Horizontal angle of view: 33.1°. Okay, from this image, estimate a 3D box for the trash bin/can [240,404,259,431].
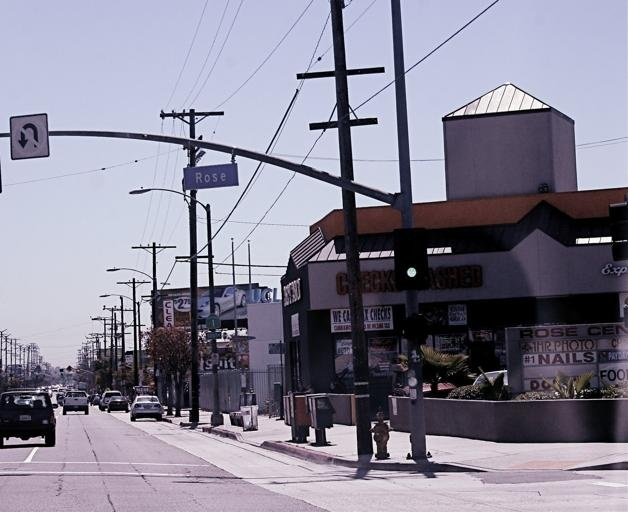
[{"bbox_3d":[-2.464,6.193,40.030,0.852,1.156,0.743,0,-12,-6],"label":"trash bin/can"}]
